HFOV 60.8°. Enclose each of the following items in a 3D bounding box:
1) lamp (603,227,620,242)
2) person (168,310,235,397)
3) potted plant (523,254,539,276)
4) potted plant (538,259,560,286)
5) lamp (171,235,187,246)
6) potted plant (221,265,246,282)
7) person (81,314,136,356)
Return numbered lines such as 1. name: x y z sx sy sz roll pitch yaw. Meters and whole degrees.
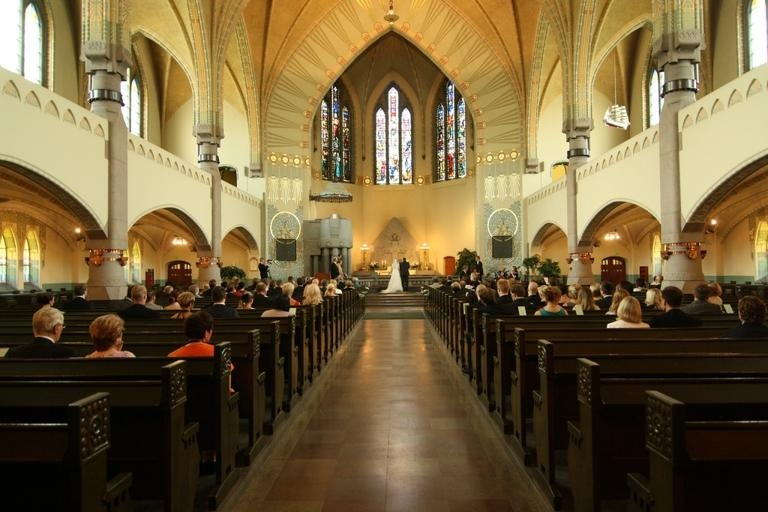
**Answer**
1. lamp: 11.045 -1.042 31.778 0.668 0.712 0.662 0 -4 1
2. person: -2.325 1.261 8.320 1.115 1.210 0.682 1 1 1
3. potted plant: 6.814 0.420 30.412 0.844 0.973 0.953 2 -5 5
4. potted plant: 6.517 0.647 26.144 1.054 1.124 1.128 0 -4 -1
5. lamp: -9.957 -0.696 32.035 0.708 0.345 0.709 -1 -5 14
6. potted plant: -6.797 0.757 29.490 0.951 0.578 0.933 4 -3 -41
7. person: -3.427 1.027 8.156 0.730 0.579 0.437 -5 -14 12
